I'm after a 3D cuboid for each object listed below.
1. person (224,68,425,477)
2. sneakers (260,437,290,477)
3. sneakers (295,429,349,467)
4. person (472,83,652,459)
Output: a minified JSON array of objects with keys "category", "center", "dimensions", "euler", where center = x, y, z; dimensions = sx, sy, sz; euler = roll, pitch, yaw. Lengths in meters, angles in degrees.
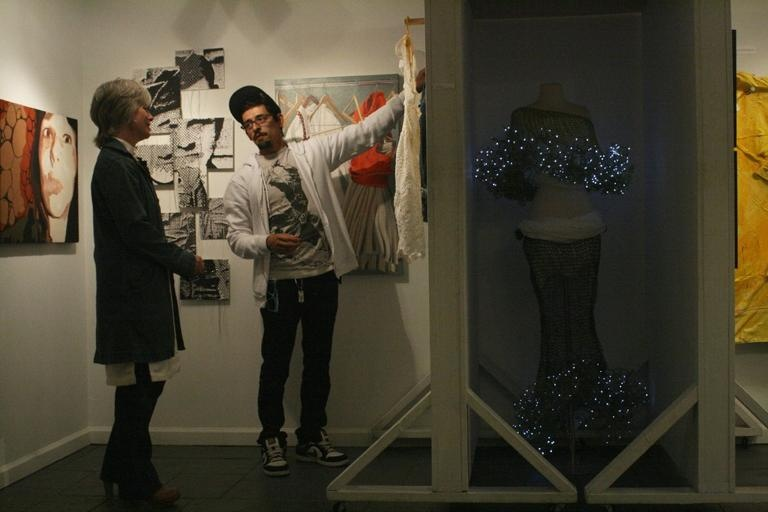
[{"category":"person","center":[-0.492,0.101,4.699],"dimensions":[0.978,2.399,0.810],"euler":[-8,13,-13]},{"category":"sneakers","center":[-0.700,1.266,4.549],"dimensions":[0.161,0.207,0.190],"euler":[-8,14,-12]},{"category":"sneakers","center":[-0.410,1.289,4.762],"dimensions":[0.421,0.224,0.146],"euler":[1,-7,18]},{"category":"person","center":[1.089,0.090,4.363],"dimensions":[0.877,2.214,0.512],"euler":[-4,13,3]}]
